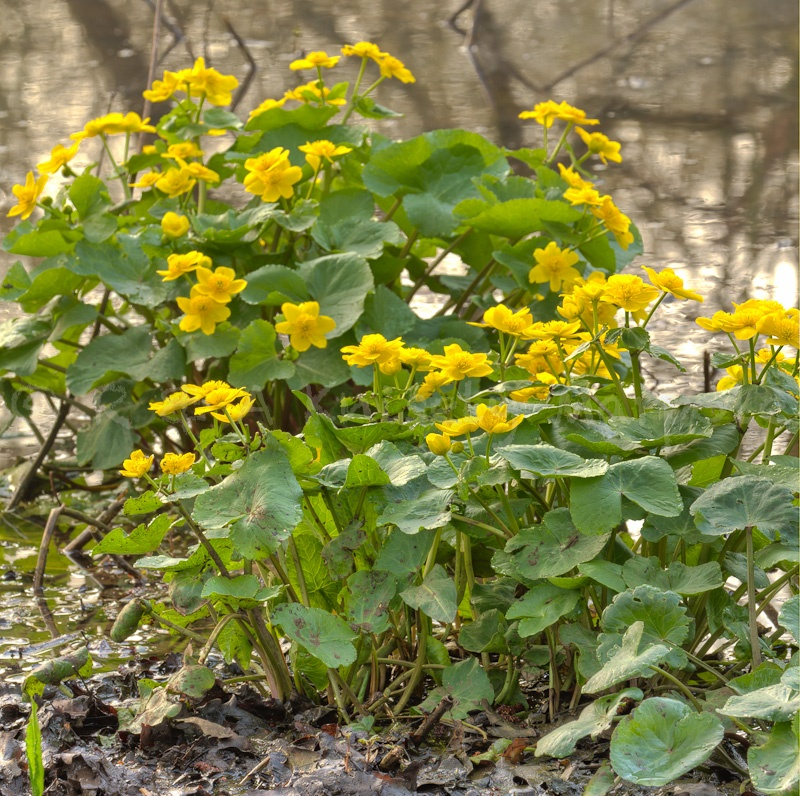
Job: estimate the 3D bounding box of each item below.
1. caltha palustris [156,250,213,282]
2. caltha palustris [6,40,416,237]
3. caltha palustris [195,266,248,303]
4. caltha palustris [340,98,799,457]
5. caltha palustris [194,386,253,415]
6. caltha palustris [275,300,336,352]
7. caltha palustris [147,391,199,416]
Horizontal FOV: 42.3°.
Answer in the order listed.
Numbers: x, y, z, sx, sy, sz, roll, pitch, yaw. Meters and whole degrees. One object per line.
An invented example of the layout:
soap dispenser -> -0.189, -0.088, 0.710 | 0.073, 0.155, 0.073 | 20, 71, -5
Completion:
caltha palustris -> -0.401, -0.249, 1.961 | 0.104, 0.032, 0.109 | -17, 7, -7
caltha palustris -> -0.429, -0.621, 2.497 | 0.887, 0.553, 0.982 | 2, 8, 2
caltha palustris -> -0.341, -0.214, 1.940 | 0.112, 0.028, 0.079 | 1, 26, -8
caltha palustris -> 0.281, -0.318, 2.015 | 0.758, 0.668, 1.224 | 2, 8, -3
caltha palustris -> -0.271, 0.000, 1.579 | 0.083, 0.023, 0.068 | -13, 6, 10
caltha palustris -> -0.184, -0.138, 1.869 | 0.107, 0.033, 0.100 | -26, -36, 13
caltha palustris -> -0.344, 0.005, 1.587 | 0.078, 0.027, 0.068 | -11, 4, 9
